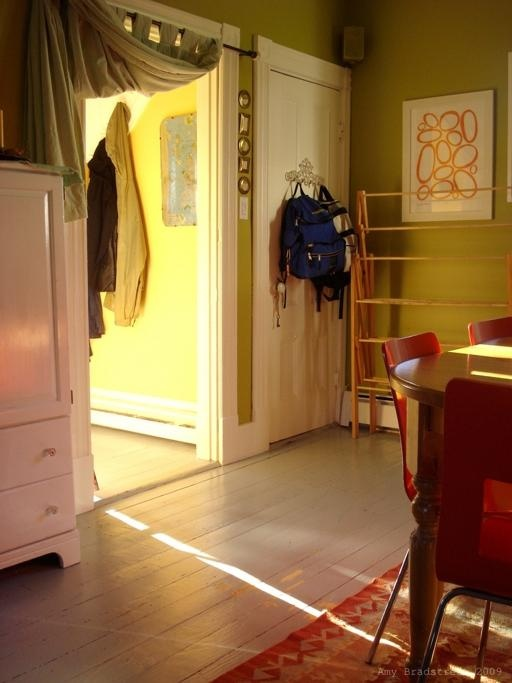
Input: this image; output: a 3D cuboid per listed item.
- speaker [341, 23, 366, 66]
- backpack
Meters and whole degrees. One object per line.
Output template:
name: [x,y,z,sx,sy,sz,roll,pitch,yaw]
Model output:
speaker: [0.680,-2.078,3.937,0.151,0.276,0.203,0,2,12]
backpack: [0.396,-0.727,3.697,0.269,0.676,0.600,1,3,38]
